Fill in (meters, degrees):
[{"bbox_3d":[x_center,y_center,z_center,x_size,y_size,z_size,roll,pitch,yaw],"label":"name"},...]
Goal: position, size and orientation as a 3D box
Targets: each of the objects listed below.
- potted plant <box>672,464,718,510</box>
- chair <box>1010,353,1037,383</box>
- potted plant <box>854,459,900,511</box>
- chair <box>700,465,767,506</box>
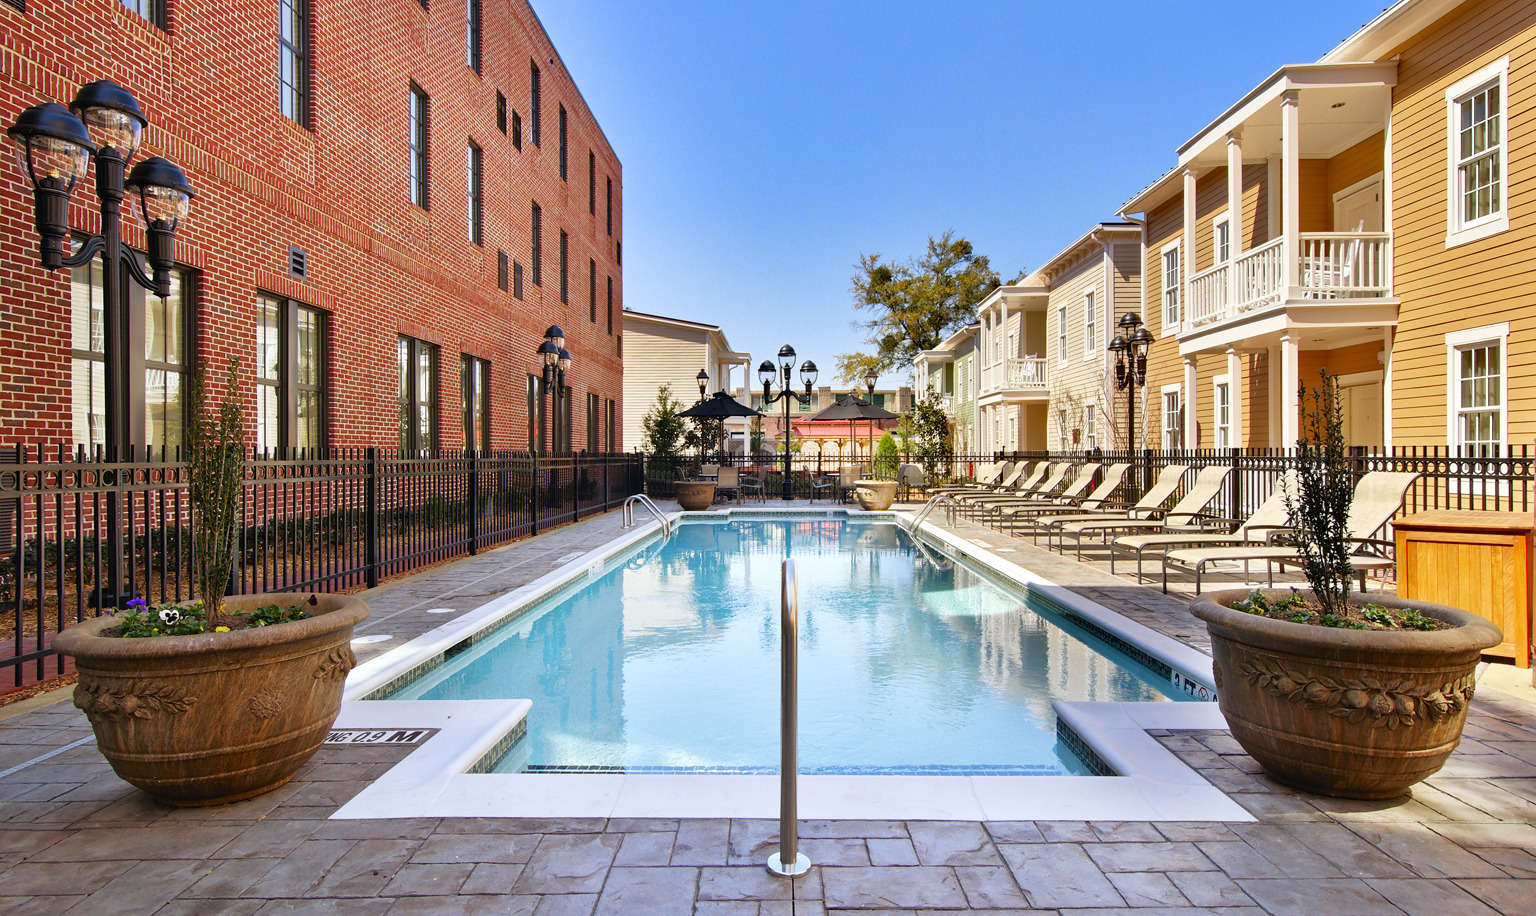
[{"bbox_3d":[-2.080,0.874,25.679,1.467,0.790,1.404,-1,3,1],"label":"potted plant"},{"bbox_3d":[8.843,-2.972,31.811,0.930,0.823,0.894,0,3,3],"label":"chair"},{"bbox_3d":[3.060,0.691,26.386,1.722,1.080,1.664,-1,-5,3],"label":"potted plant"},{"bbox_3d":[-1.180,0.820,28.868,1.558,0.884,1.489,0,-4,-1],"label":"chair"}]
